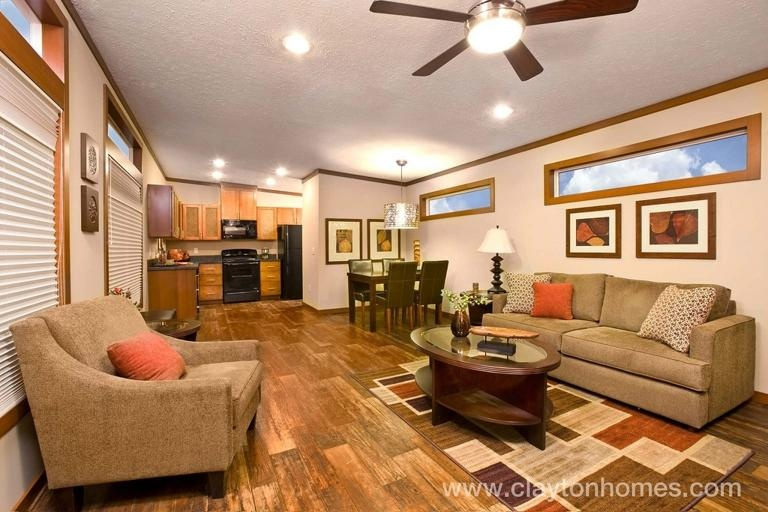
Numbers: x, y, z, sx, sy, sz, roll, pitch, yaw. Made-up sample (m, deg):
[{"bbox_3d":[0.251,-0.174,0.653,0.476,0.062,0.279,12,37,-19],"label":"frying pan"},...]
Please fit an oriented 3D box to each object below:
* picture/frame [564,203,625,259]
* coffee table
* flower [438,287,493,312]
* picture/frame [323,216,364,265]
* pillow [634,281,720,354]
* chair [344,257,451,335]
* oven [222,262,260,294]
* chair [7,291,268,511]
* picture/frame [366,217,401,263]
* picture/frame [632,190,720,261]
[{"bbox_3d":[2.488,-0.282,5.587,0.049,0.672,0.693,7,-1,-40],"label":"picture/frame"},{"bbox_3d":[0.915,1.135,4.116,0.871,0.541,1.269,-1,2,-32],"label":"coffee table"},{"bbox_3d":[0.810,0.453,4.770,0.553,0.235,0.521,1,-2,-3],"label":"flower"},{"bbox_3d":[-0.699,-0.240,7.941,0.866,0.881,0.063,-4,6,-35],"label":"picture/frame"},{"bbox_3d":[2.701,0.543,4.401,0.192,0.576,0.605,25,0,-10],"label":"pillow"},{"bbox_3d":[0.222,0.571,6.995,1.346,0.975,1.037,0,0,-9],"label":"chair"},{"bbox_3d":[-2.727,0.457,9.252,0.688,0.662,0.576,3,-4,-36],"label":"oven"},{"bbox_3d":[-1.804,1.046,3.926,1.861,1.190,1.667,-1,7,-29],"label":"chair"},{"bbox_3d":[-0.036,-0.264,8.168,0.906,0.819,0.062,0,-1,-39],"label":"picture/frame"},{"bbox_3d":[3.071,-0.307,4.964,0.056,0.734,0.812,7,-4,-40],"label":"picture/frame"}]
